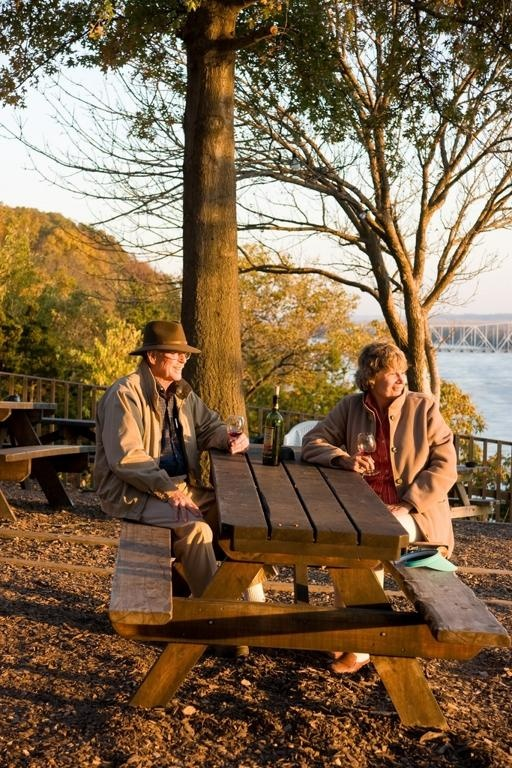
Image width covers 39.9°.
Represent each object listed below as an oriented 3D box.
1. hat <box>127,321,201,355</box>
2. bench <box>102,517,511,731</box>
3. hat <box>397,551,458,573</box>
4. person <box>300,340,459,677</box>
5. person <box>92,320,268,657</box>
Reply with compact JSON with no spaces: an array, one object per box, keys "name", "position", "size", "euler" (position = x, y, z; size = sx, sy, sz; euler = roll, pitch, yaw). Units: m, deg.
[{"name":"hat","position":[-0.492,-0.219,3.513],"size":[0.268,0.117,0.203],"euler":[-1,0,17]},{"name":"bench","position":[0.124,0.883,2.390],"size":[1.227,0.611,1.054],"euler":[5,-1,-10]},{"name":"hat","position":[0.653,0.678,2.700],"size":[0.159,0.048,0.108],"euler":[2,-2,-4]},{"name":"person","position":[0.602,0.564,3.641],"size":[0.659,1.542,0.846],"euler":[2,0,43]},{"name":"person","position":[-0.329,0.467,3.450],"size":[0.859,1.477,0.755],"euler":[-2,-3,6]}]
